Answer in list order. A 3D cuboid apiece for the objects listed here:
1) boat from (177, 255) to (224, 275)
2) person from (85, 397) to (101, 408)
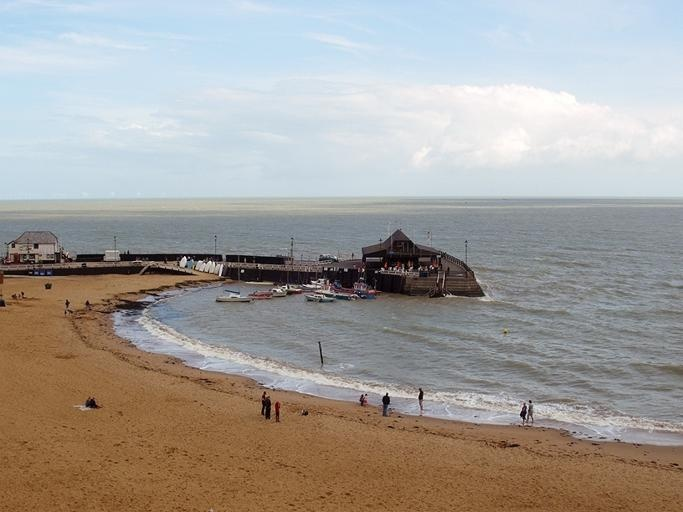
[{"bbox_3d":[-20.398,1.446,111.321,5.116,1.444,3.322,6,3,10],"label":"boat"},{"bbox_3d":[-16.373,9.612,50.093,0.992,0.634,1.402,-3,11,-17],"label":"person"}]
